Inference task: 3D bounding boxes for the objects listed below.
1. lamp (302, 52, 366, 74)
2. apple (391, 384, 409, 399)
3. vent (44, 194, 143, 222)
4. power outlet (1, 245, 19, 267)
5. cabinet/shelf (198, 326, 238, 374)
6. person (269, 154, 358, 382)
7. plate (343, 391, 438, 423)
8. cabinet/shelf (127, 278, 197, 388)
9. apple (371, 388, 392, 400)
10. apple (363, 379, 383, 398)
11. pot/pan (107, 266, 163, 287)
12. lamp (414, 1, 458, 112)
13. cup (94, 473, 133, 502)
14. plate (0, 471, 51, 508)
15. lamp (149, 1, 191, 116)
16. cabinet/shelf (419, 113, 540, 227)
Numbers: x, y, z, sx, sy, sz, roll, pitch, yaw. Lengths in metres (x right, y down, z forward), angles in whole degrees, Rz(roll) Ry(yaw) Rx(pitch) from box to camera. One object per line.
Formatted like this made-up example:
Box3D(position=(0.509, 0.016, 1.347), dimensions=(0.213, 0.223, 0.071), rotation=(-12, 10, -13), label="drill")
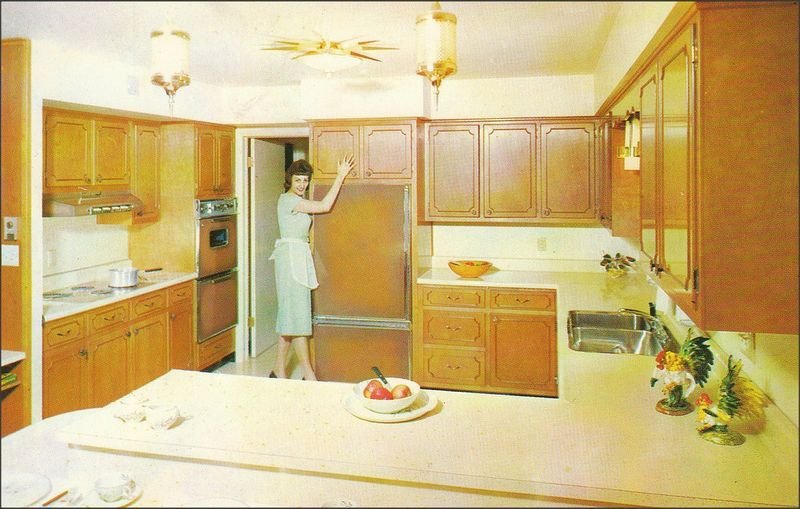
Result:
Box3D(position=(-0.381, -1.006, 2.983), dimensions=(0.227, 0.073, 0.214), rotation=(4, 15, 13), label="lamp")
Box3D(position=(0.001, 0.563, 2.323), dimensions=(0.051, 0.044, 0.045), rotation=(1, -2, -3), label="apple")
Box3D(position=(-2.189, -0.365, 4.058), dimensions=(0.211, 0.145, 0.771), rotation=(1, 8, 8), label="vent")
Box3D(position=(-2.335, 0.010, 3.387), dimensions=(0.124, 0.143, 0.049), rotation=(2, 8, 15), label="power outlet")
Box3D(position=(-1.616, 0.847, 5.039), dimensions=(0.274, 0.201, 0.453), rotation=(0, 4, 7), label="cabinet/shelf")
Box3D(position=(-0.704, 0.128, 4.417), dimensions=(0.586, 1.701, 0.281), rotation=(-2, 8, -11), label="person")
Box3D(position=(-0.030, 0.636, 2.349), dimensions=(0.399, 0.064, 0.163), rotation=(0, 8, -3), label="plate")
Box3D(position=(-1.774, 0.565, 4.154), dimensions=(0.380, 0.737, 0.867), rotation=(-1, 0, 3), label="cabinet/shelf")
Box3D(position=(-0.078, 0.569, 2.302), dimensions=(0.053, 0.043, 0.049), rotation=(-4, 12, -13), label="apple")
Box3D(position=(-0.123, 0.560, 2.366), dimensions=(0.062, 0.059, 0.067), rotation=(21, -42, -37), label="apple")
Box3D(position=(-1.960, 0.164, 4.208), dimensions=(0.371, 0.110, 0.161), rotation=(1, -1, -30), label="pot/pan")
Box3D(position=(0.165, -0.924, 2.513), dimensions=(0.180, 0.358, 0.188), rotation=(-1, 8, -3), label="lamp")
Box3D(position=(-1.063, 0.860, 2.102), dimensions=(0.100, 0.047, 0.096), rotation=(3, 8, 0), label="cup")
Box3D(position=(-1.464, 0.894, 2.207), dimensions=(0.166, 0.064, 0.273), rotation=(-6, 10, -39), label="plate")
Box3D(position=(-0.971, -0.826, 2.396), dimensions=(0.155, 0.443, 0.295), rotation=(-3, 9, -20), label="lamp")
Box3D(position=(0.641, -0.694, 4.538), dimensions=(1.049, 0.792, 0.353), rotation=(0, 1, 8), label="cabinet/shelf")
